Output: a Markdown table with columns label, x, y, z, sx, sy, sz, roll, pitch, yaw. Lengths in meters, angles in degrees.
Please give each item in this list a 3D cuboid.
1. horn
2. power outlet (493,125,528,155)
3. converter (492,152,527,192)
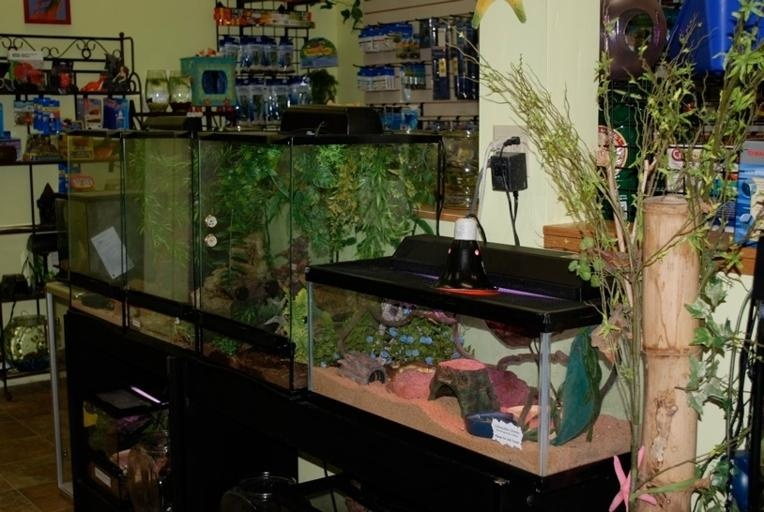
| label | x | y | z | sx | sy | sz | roll | pitch | yaw |
| --- | --- | --- | --- | --- | --- | --- | --- | --- | --- |
| horn | 0.260 | -0.009 | 2.036 | 0.186 | 0.218 | 0.197 | -1 | 5 | -31 |
| power outlet | 0.476 | -0.424 | 2.379 | 0.098 | 0.120 | 0.016 | -12 | -15 | 34 |
| converter | 0.466 | -0.309 | 2.397 | 0.124 | 0.135 | 0.123 | -7 | 10 | -7 |
